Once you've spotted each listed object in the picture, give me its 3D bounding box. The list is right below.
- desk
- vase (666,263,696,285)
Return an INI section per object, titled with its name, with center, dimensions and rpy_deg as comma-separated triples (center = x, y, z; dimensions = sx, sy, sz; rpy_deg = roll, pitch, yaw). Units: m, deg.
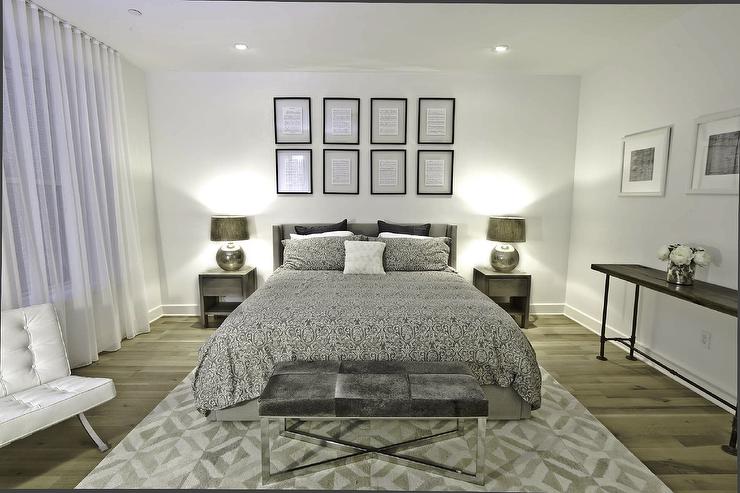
[desk]
center = 2.570, 0.997, 4.308
dimensions = 0.442, 0.762, 1.427
rpy_deg = 0, 9, 1
[vase]
center = 2.624, 0.226, 4.295
dimensions = 0.204, 0.204, 0.201
rpy_deg = 2, -2, 15
